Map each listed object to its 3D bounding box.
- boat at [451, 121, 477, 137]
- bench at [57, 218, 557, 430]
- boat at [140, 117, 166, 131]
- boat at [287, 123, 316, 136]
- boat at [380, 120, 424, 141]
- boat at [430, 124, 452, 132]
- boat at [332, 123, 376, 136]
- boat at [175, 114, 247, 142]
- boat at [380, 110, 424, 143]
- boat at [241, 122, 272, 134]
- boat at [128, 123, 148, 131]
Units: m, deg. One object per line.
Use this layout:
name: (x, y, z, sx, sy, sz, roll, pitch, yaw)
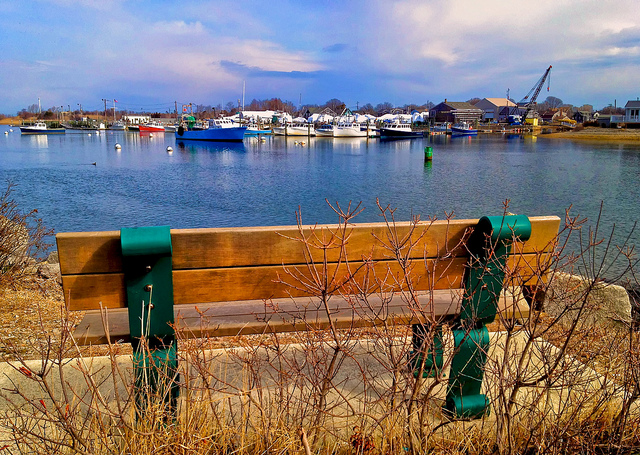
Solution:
boat: (21.031, -14.413, 89.034, 1.665, 2.615, 5.811, 8, 19, 40)
bench: (-0.040, 0.620, 3.564, 2.757, 1.375, 0.651, -4, 12, -9)
boat: (-26.786, -16.114, 96.146, 3.622, 1.302, 5.517, -6, 15, -18)
boat: (-2.573, -13.457, 83.451, 2.489, 1.716, 5.377, -13, 18, -39)
boat: (10.885, -12.641, 79.635, 7.936, 3.265, 2.413, -8, 13, -41)
boat: (20.335, -16.732, 100.694, 2.470, 0.759, 2.841, -1, 5, -23)
boat: (4.336, -12.349, 78.436, 5.792, 2.015, 2.068, 0, 11, -16)
boat: (-11.900, -11.162, 69.125, 4.406, 2.582, 9.185, -12, 18, -35)
boat: (11.359, -13.799, 80.565, 7.983, 4.034, 2.760, -9, 17, -36)
boat: (-9.275, -14.179, 86.420, 2.479, 1.752, 4.464, -2, 10, -6)
boat: (-32.215, -17.757, 106.615, 4.142, 1.172, 2.910, -7, 18, -8)
